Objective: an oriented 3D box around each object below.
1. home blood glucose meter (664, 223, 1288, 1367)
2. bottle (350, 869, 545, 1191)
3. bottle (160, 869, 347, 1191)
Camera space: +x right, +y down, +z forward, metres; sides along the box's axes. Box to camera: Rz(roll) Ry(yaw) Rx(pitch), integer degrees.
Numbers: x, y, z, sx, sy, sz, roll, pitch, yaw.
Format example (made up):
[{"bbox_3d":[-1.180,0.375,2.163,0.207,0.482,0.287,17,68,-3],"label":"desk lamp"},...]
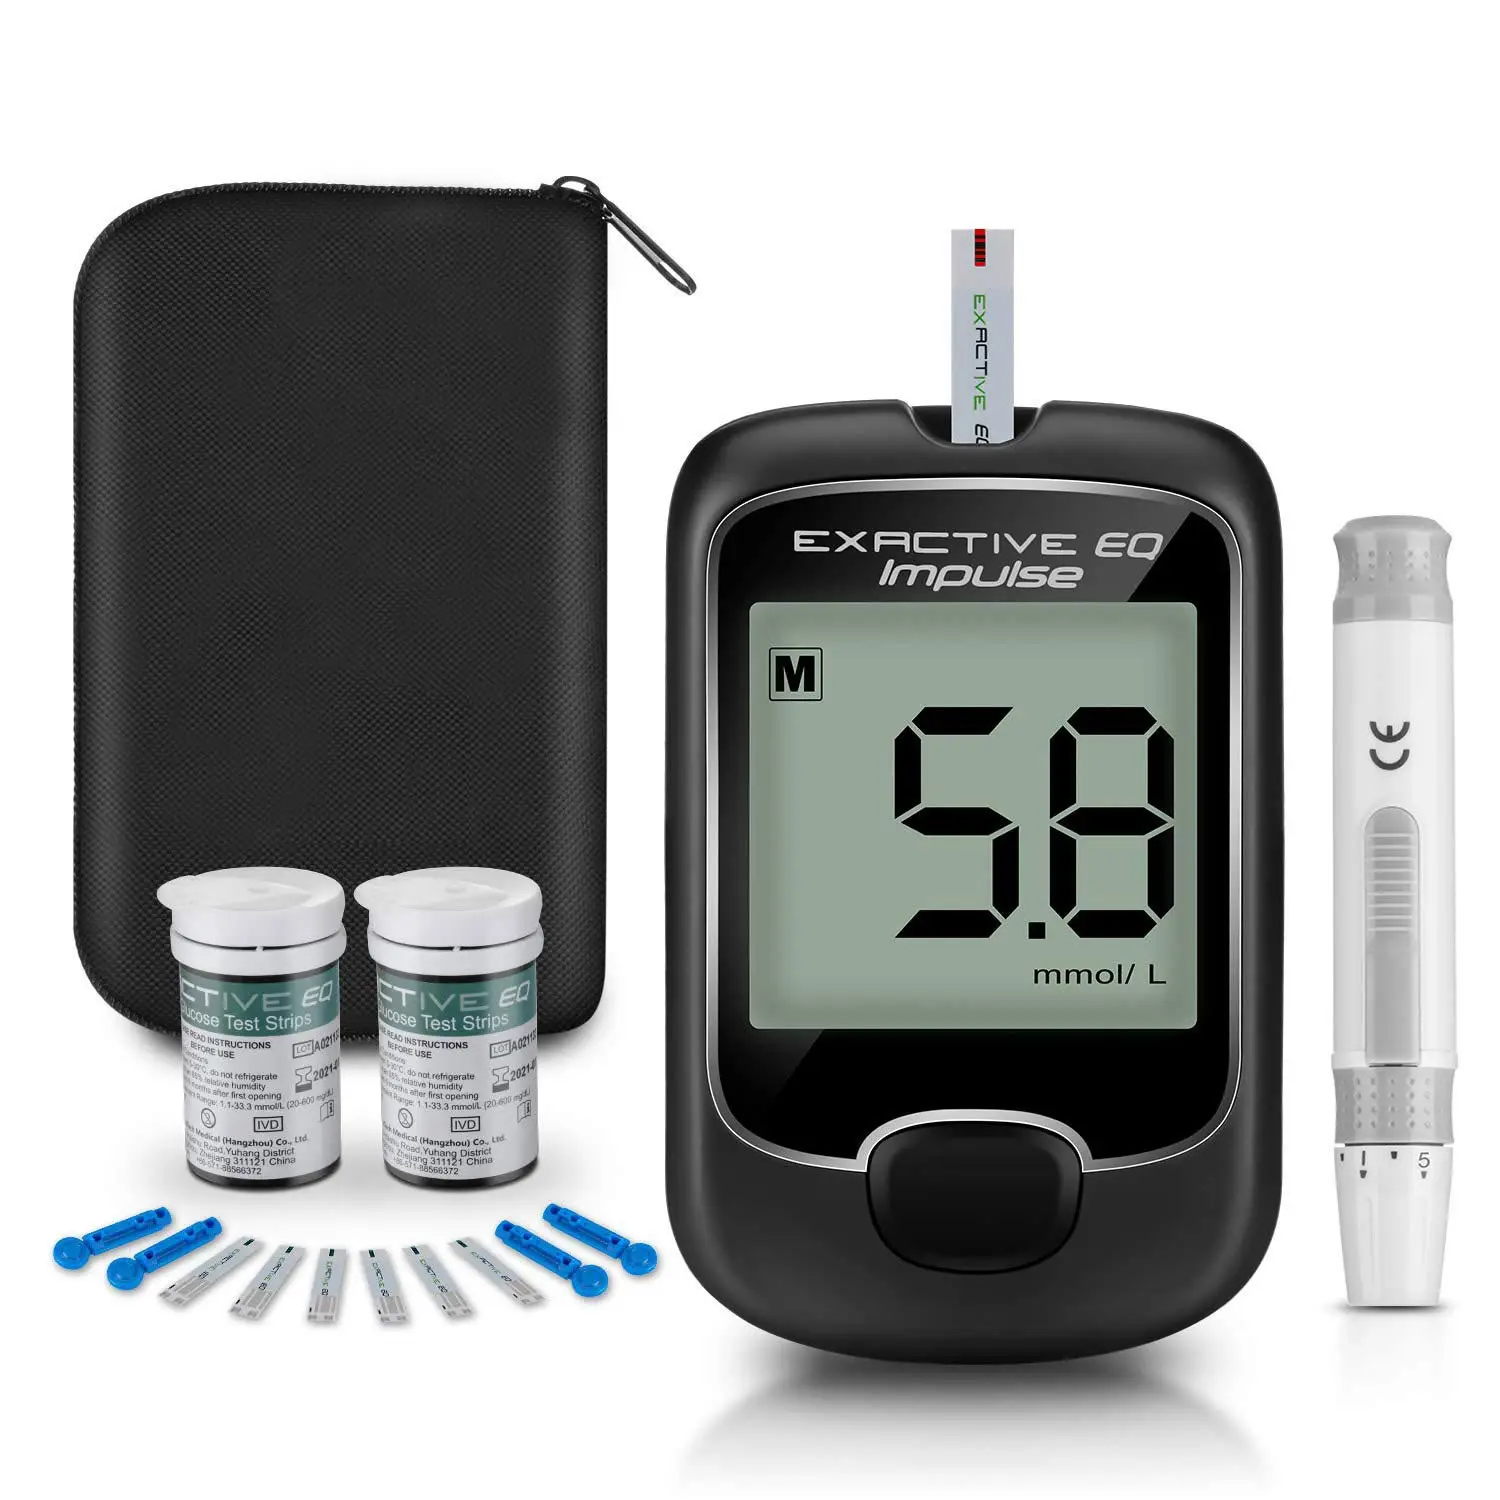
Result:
[{"bbox_3d":[0.138,0.019,1.106,0.374,0.668,0.251,0,15,4],"label":"home blood glucose meter"},{"bbox_3d":[-0.221,0.216,1.359,0.130,0.215,0.104,-3,15,-10],"label":"bottle"},{"bbox_3d":[-0.382,0.210,1.415,0.129,0.216,0.194,-5,14,-17],"label":"bottle"}]
